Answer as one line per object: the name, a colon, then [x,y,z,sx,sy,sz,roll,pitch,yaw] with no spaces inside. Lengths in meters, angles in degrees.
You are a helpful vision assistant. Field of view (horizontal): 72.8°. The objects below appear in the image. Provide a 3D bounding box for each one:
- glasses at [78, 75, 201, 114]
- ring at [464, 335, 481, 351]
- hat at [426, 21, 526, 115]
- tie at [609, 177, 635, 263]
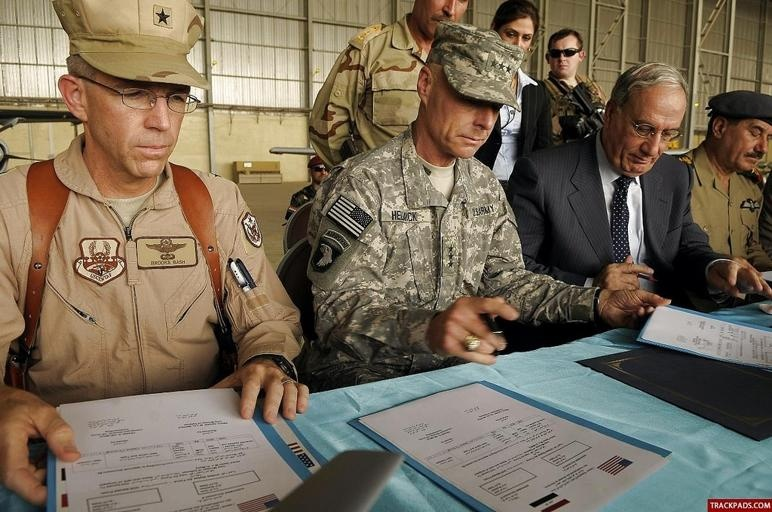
glasses: [-0.745,-0.481,1.538,0.283,0.107,0.099,-8,15,-24]
ring: [0.223,0.217,1.321,0.037,0.024,0.036,0,-3,0]
hat: [0.330,-0.727,1.975,0.312,0.202,0.370,3,30,-46]
tie: [1.114,-0.170,2.434,0.088,0.437,0.058,2,-4,0]
